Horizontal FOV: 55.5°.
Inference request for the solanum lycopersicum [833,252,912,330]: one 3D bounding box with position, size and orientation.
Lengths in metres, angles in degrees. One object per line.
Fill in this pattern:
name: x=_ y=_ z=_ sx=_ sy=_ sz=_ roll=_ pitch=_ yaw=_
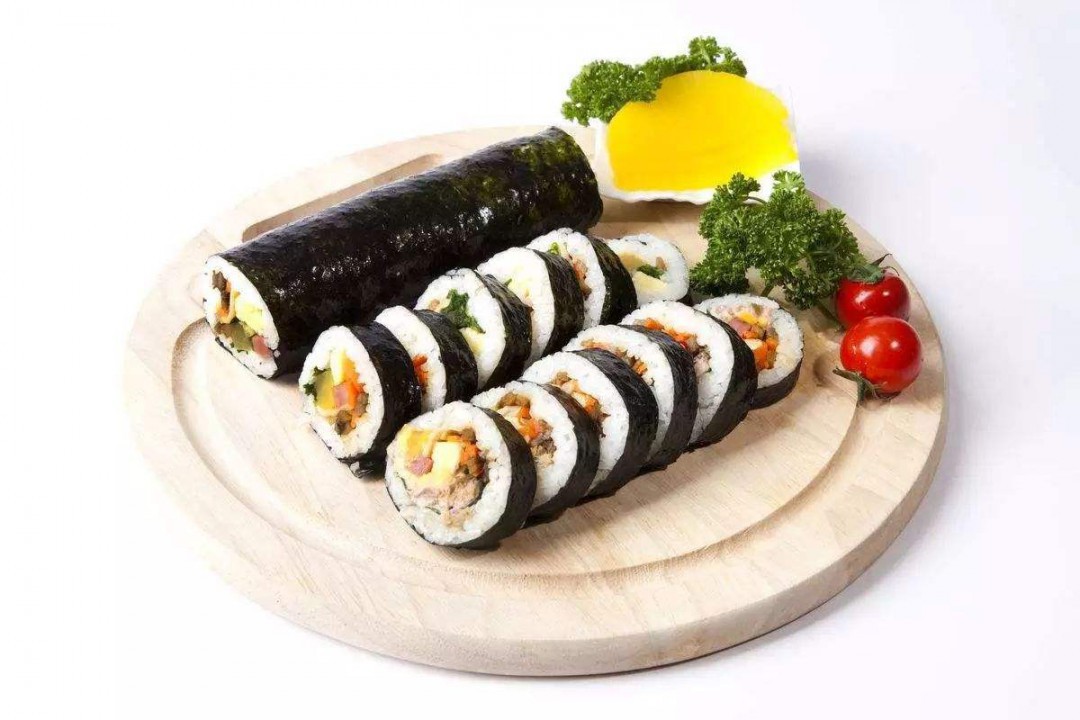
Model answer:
solanum lycopersicum: x=1.727 y=-0.343 z=5.418 sx=0.334 sy=0.393 sz=0.316 roll=-31 pitch=43 yaw=-4
